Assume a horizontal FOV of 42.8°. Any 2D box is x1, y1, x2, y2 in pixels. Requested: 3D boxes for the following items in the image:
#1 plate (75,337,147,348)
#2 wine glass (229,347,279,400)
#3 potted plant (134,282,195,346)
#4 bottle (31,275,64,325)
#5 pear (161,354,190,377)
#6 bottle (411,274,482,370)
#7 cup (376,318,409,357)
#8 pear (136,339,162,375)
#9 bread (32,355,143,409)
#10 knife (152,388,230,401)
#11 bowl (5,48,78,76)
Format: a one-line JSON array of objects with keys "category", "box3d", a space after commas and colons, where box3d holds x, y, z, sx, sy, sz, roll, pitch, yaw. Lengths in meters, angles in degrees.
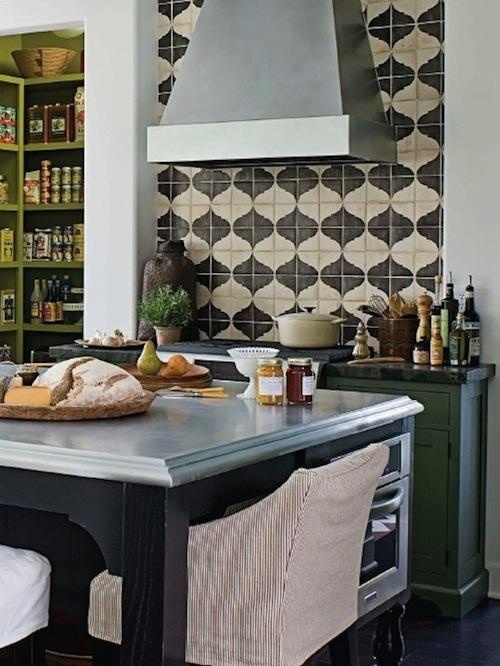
[{"category": "plate", "box3d": [-0.781, 0.055, 3.526, 0.386, 0.051, 0.263, 2, 4, -7]}, {"category": "wine glass", "box3d": [0.007, 0.114, 1.739, 0.134, 0.109, 0.135, 0, -2, 2]}, {"category": "potted plant", "box3d": [-0.478, -0.098, 3.544, 0.295, 0.323, 0.192, 3, 4, -2]}, {"category": "bottle", "box3d": [-1.474, -0.226, 4.656, 0.176, 0.473, 0.364, 2, -3, -39]}, {"category": "pear", "box3d": [-0.215, 0.085, 1.855, 0.077, 0.056, 0.056, -27, 3, -10]}, {"category": "bottle", "box3d": [0.931, -0.056, 2.910, 0.312, 0.414, 0.260, 0, 4, -34]}, {"category": "cup", "box3d": [0.692, 0.022, 3.032, 0.164, 0.169, 0.172, 0, 0, 0]}, {"category": "pear", "box3d": [-0.292, 0.076, 1.897, 0.091, 0.123, 0.089, -1, 3, -3]}, {"category": "bread", "box3d": [-0.349, 0.087, 1.417, 0.145, 0.045, 0.136, 4, 4, 25]}, {"category": "knife", "box3d": [-0.166, 0.166, 1.773, 0.235, 0.025, 0.064, 1, 10, 4]}, {"category": "bowl", "box3d": [-1.479, -1.949, 4.590, 0.395, 0.138, 0.383, -1, -3, 0]}]
